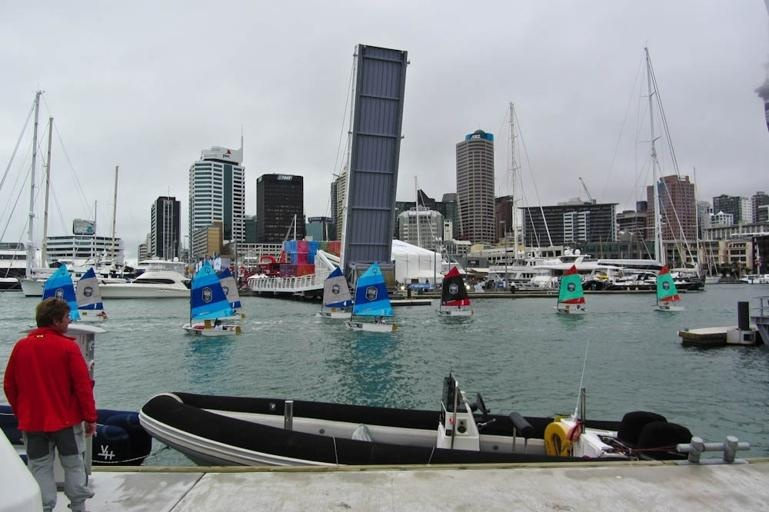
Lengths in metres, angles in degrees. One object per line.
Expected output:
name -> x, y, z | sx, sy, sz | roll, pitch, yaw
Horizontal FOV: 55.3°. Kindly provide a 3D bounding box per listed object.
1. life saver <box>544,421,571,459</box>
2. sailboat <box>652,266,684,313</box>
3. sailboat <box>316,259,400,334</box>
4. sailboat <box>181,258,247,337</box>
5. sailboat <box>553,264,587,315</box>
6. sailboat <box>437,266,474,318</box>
life saver -> 4.991, 5.369, 20.894 | 0.342, 1.079, 0.864 | 12, -30, -39
sailboat -> 21.075, 2.453, 54.439 | 1.506, 3.298, 2.740 | 2, 5, 20
sailboat -> -1.329, 2.275, 46.072 | 4.676, 4.467, 10.246 | 0, 5, -10
sailboat -> -9.745, 2.348, 40.690 | 2.417, 4.189, 1.532 | -1, 4, -16
sailboat -> 13.607, 2.383, 53.253 | 1.789, 3.489, 3.246 | 2, 5, 14
sailboat -> 4.871, 2.464, 50.761 | 2.030, 3.512, 1.775 | 1, 4, 4
